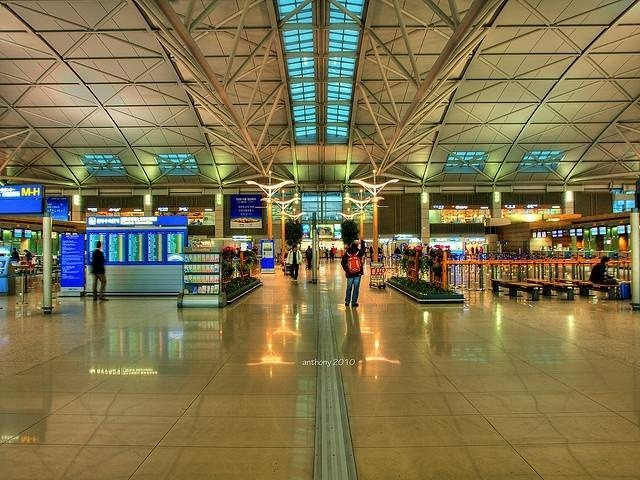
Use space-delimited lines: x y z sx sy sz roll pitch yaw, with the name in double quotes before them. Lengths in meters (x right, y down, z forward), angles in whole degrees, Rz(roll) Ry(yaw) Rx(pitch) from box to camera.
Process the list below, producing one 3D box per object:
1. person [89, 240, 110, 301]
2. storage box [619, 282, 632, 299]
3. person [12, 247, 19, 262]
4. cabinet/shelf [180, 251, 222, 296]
"person" -7.613 1.025 16.669 0.476 2.002 1.360 -2 -2 -24
"storage box" 9.586 1.595 15.200 0.307 0.505 0.241 -3 -2 16
"person" -15.937 0.830 25.269 0.340 0.650 2.288 -1 -2 -33
"cabinet/shelf" -3.621 1.035 14.839 1.317 1.413 0.553 -1 -11 -1
